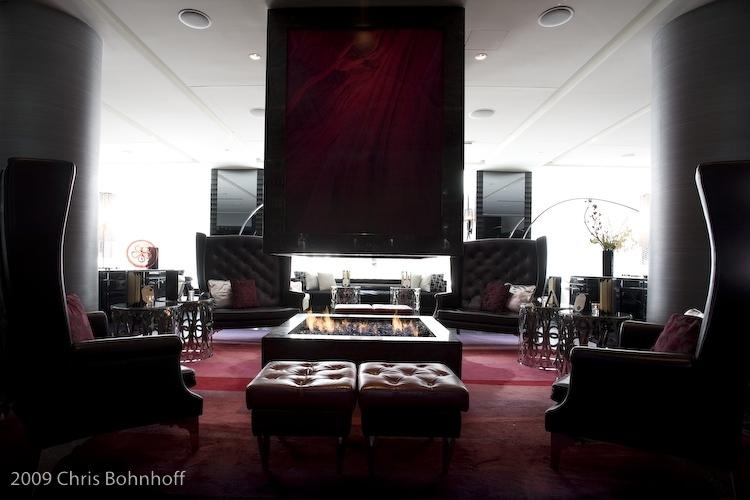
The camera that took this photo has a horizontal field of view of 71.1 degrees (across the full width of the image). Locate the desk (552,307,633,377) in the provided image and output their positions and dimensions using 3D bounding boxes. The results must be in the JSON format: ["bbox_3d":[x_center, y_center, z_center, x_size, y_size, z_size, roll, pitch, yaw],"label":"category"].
[{"bbox_3d":[1.855,0.754,4.802,0.552,0.507,0.421,-3,25,-6],"label":"desk"}]

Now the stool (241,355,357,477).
[{"bbox_3d":[-0.468,1.020,3.427,0.727,0.499,0.681,1,-5,-3],"label":"stool"}]

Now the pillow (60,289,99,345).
[{"bbox_3d":[-2.088,0.484,3.694,0.105,0.319,0.346,-19,4,4],"label":"pillow"}]

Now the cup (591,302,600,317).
[{"bbox_3d":[1.933,0.539,4.584,0.087,0.144,0.086,0,-1,0],"label":"cup"}]

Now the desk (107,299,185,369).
[{"bbox_3d":[-2.204,0.723,4.945,0.726,0.677,0.686,0,-3,-8],"label":"desk"}]

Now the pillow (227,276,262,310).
[{"bbox_3d":[-1.612,0.574,6.520,0.357,0.331,0.142,0,-4,-1],"label":"pillow"}]

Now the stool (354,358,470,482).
[{"bbox_3d":[0.242,1.059,3.444,0.701,0.478,0.675,1,-4,3],"label":"stool"}]
